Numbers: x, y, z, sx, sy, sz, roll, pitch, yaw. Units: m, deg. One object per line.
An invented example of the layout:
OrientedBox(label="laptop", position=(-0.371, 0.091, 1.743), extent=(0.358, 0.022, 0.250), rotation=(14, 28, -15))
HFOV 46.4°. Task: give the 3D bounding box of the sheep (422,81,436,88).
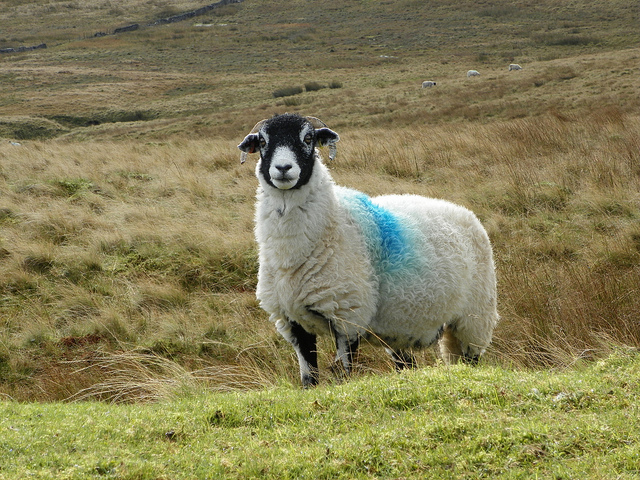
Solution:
OrientedBox(label="sheep", position=(7.187, -10.782, 50.823), extent=(1.241, 0.627, 0.377), rotation=(-3, 14, -6))
